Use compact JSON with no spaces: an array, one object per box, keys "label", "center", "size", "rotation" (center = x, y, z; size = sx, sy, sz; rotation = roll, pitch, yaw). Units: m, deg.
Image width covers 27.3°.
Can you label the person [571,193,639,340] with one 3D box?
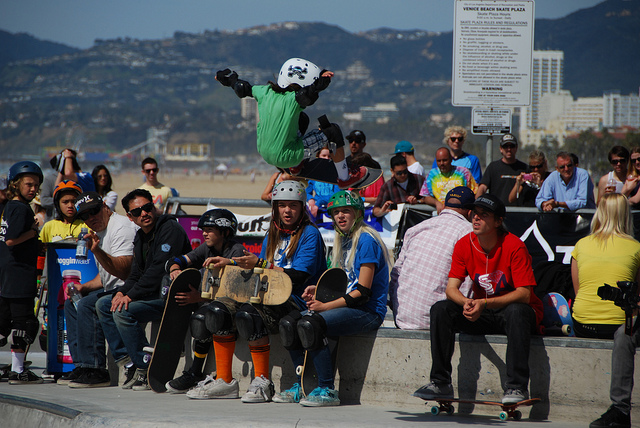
[{"label":"person","center":[4.767,0.882,21.983],"size":[1.089,2.431,0.457],"rotation":[0,3,8]}]

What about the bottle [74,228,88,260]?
[{"label":"bottle","center":[-4.179,0.520,22.986],"size":[0.197,0.512,0.235],"rotation":[-1,3,-12]}]

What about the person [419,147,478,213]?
[{"label":"person","center":[2.479,-0.497,25.531],"size":[1.192,1.630,0.862],"rotation":[-5,8,10]}]

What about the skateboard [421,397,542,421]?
[{"label":"skateboard","center":[2.737,3.280,21.807],"size":[1.548,0.255,0.339],"rotation":[-2,-4,20]}]
